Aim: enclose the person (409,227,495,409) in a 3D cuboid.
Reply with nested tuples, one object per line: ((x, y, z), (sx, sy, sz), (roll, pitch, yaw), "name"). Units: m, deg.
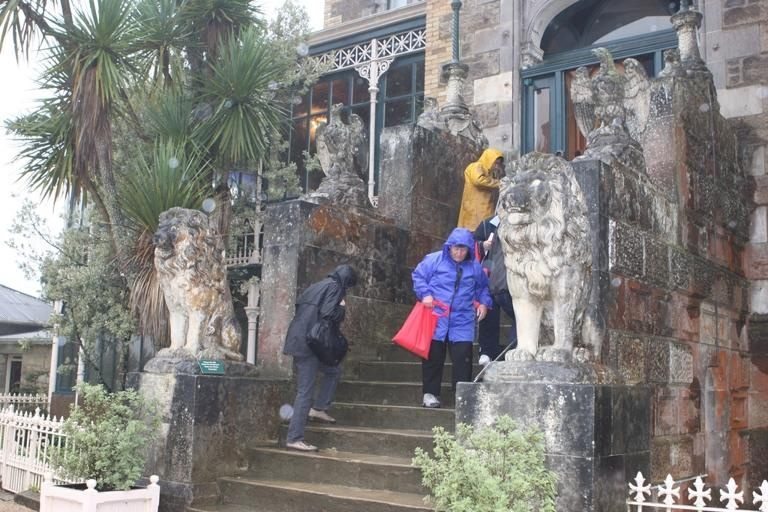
((1.008, 0.889, 14.247), (1.110, 2.596, 0.344), (-1, -9, 2), "person")

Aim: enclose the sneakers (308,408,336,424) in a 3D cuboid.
((-0.939, 2.377, 14.634), (0.460, 0.222, 0.176), (13, -2, 2), "sneakers")

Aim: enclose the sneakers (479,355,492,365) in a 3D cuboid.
((1.503, 1.534, 14.360), (0.165, 0.175, 0.132), (18, -14, -8), "sneakers")

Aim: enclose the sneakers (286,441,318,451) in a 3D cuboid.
((-1.178, 2.736, 14.074), (0.429, 0.193, 0.170), (2, -4, 6), "sneakers")

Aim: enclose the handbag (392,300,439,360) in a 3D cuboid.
((0.489, 1.140, 14.567), (0.601, 0.822, 0.267), (25, -9, 9), "handbag")

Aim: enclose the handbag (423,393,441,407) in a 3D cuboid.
((0.707, 2.096, 14.128), (0.241, 0.169, 0.142), (3, -1, -44), "handbag")
